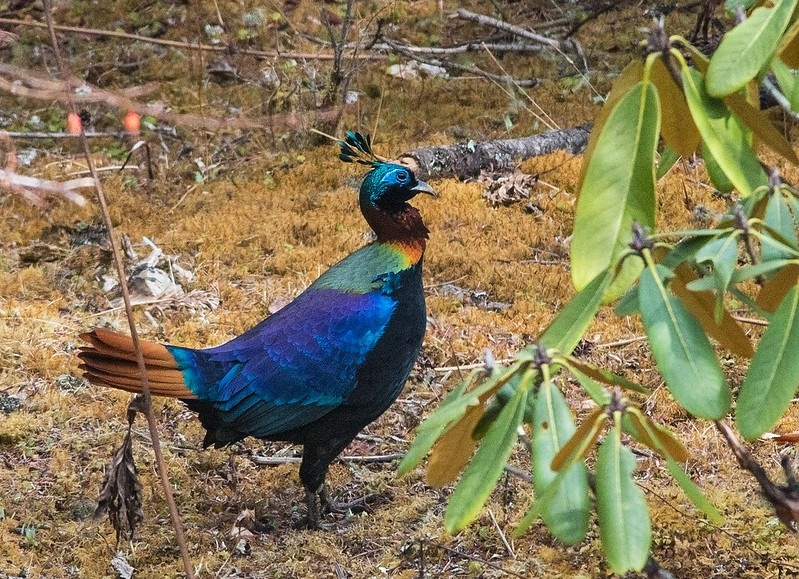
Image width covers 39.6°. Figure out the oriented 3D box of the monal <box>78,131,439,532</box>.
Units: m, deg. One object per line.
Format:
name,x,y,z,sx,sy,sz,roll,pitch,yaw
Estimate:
monal,-0.888,0.331,6.931,2.123,2.144,0.854,-13,21,-10
